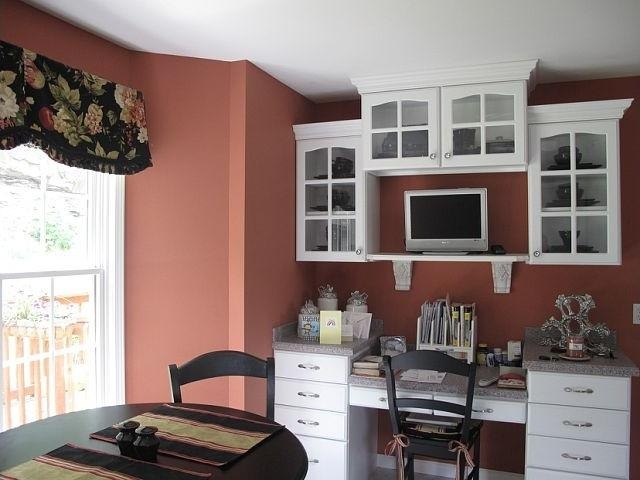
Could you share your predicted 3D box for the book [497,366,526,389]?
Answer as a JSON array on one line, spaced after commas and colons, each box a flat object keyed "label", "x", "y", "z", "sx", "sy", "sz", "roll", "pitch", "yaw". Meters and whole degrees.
[{"label": "book", "x": 1.281, "y": 0.915, "z": 3.489, "sx": 0.153, "sy": 0.051, "sz": 0.221, "roll": -1, "pitch": 2, "yaw": 22}]

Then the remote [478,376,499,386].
[{"label": "remote", "x": 1.116, "y": 0.915, "z": 3.480, "sx": 0.051, "sy": 0.035, "sz": 0.175, "roll": 3, "pitch": 5, "yaw": 37}]

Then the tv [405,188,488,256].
[{"label": "tv", "x": 0.935, "y": -0.138, "z": 3.825, "sx": 0.481, "sy": 0.398, "sz": 0.051, "roll": 0, "pitch": 0, "yaw": 19}]

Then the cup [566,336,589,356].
[{"label": "cup", "x": 1.661, "y": 0.678, "z": 3.399, "sx": 0.123, "sy": 0.140, "sz": 0.127, "roll": 1, "pitch": -4, "yaw": 0}]
